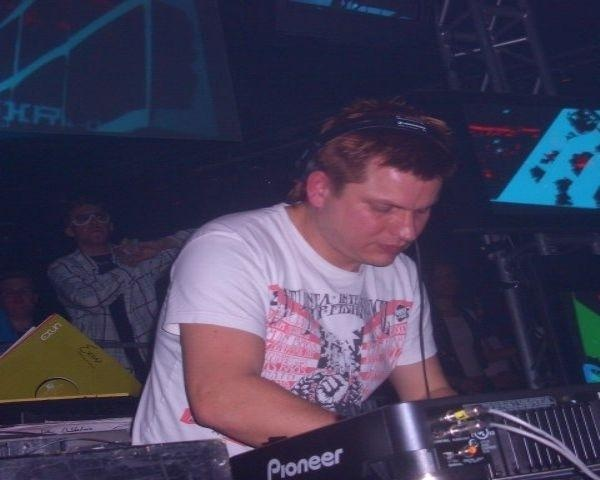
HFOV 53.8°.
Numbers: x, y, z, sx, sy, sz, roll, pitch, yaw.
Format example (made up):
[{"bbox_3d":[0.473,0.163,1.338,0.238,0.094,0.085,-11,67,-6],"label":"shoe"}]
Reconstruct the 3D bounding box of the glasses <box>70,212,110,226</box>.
[{"bbox_3d":[-1.282,-0.124,3.575,0.114,0.031,0.111,-1,-26,-33],"label":"glasses"}]

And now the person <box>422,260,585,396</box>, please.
[{"bbox_3d":[0.997,0.394,3.087,0.673,0.800,0.283,-8,-22,-17],"label":"person"}]

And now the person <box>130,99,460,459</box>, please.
[{"bbox_3d":[0.062,0.056,1.789,0.919,0.968,0.508,-3,0,-42],"label":"person"}]
